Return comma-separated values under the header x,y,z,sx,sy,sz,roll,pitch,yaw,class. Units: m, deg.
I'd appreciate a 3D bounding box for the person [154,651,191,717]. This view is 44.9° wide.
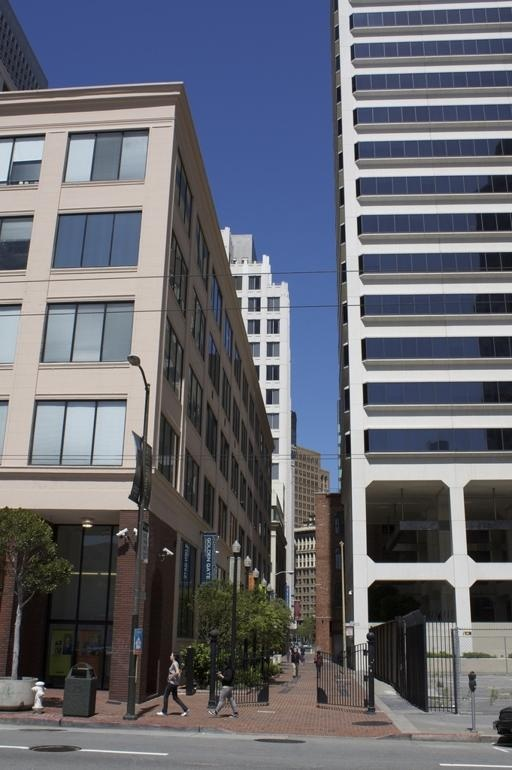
x,y,z,sx,sy,sz,roll,pitch,yaw,class
-2.191,8.012,16.617,0.755,1.428,3.444,4,-23,-6,person

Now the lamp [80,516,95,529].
x,y,z,sx,sy,sz,roll,pitch,yaw,class
-6.343,5.220,23.223,0.533,0.476,0.579,-6,-10,23,lamp
